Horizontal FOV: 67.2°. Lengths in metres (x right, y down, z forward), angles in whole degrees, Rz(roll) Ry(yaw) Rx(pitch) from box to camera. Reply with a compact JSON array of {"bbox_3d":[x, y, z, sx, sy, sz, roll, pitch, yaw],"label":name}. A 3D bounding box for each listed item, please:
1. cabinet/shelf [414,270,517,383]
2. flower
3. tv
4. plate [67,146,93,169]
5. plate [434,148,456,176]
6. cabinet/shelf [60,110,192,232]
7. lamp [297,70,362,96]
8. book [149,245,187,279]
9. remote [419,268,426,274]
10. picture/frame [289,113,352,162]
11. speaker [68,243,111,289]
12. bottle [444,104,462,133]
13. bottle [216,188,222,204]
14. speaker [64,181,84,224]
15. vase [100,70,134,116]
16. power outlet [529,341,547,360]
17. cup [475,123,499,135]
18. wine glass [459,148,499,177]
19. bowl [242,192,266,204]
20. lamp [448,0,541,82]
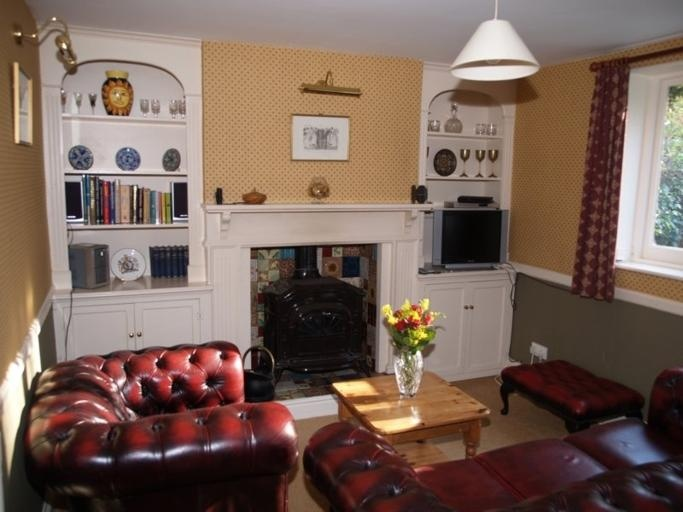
[{"bbox_3d":[1.147,0.636,4.869,0.971,1.142,0.460,-2,7,-17],"label":"cabinet/shelf"},{"bbox_3d":[0.535,0.535,4.044,0.538,0.397,0.538,-5,8,-36],"label":"flower"},{"bbox_3d":[1.228,-0.215,5.183,0.930,0.724,0.521,0,8,-7],"label":"tv"},{"bbox_3d":[-2.166,-0.819,4.259,0.192,0.198,0.112,-5,8,-29],"label":"plate"},{"bbox_3d":[1.089,-0.962,5.298,0.299,0.267,0.123,-6,8,-31],"label":"plate"},{"bbox_3d":[-1.852,-0.713,4.320,0.990,0.966,0.337,-2,4,-17],"label":"cabinet/shelf"},{"bbox_3d":[-0.086,-1.504,4.461,0.569,0.212,0.084,-4,7,-19],"label":"lamp"},{"bbox_3d":[-1.523,0.052,4.511,0.261,0.351,0.350,-1,2,-31],"label":"book"},{"bbox_3d":[0.792,0.145,5.020,0.062,0.018,0.060,9,22,15],"label":"remote"},{"bbox_3d":[-0.213,-1.047,4.502,0.431,0.328,0.017,-2,12,-16],"label":"picture/frame"},{"bbox_3d":[-1.995,0.065,4.205,0.325,0.467,0.316,0,9,0],"label":"speaker"},{"bbox_3d":[1.106,-1.358,5.111,0.164,0.300,0.270,0,7,10],"label":"bottle"},{"bbox_3d":[-1.011,-0.493,4.234,0.064,0.142,0.168,-3,7,-14],"label":"bottle"},{"bbox_3d":[-2.187,-0.436,4.197,0.124,0.333,0.049,-5,7,-29],"label":"speaker"},{"bbox_3d":[-1.829,-1.323,4.182,0.229,0.391,0.147,-5,7,-25],"label":"vase"},{"bbox_3d":[1.901,0.911,4.952,0.024,0.169,0.166,-8,18,-25],"label":"power outlet"},{"bbox_3d":[1.472,-1.274,5.179,0.363,0.132,0.112,-8,9,-43],"label":"cup"},{"bbox_3d":[1.415,-0.962,5.283,0.321,0.222,0.087,-1,6,-12],"label":"wine glass"},{"bbox_3d":[-0.719,-0.486,4.318,0.228,0.112,0.136,-5,8,-27],"label":"bowl"},{"bbox_3d":[0.792,-0.999,2.649,0.409,0.461,0.436,-1,2,-12],"label":"lamp"}]
